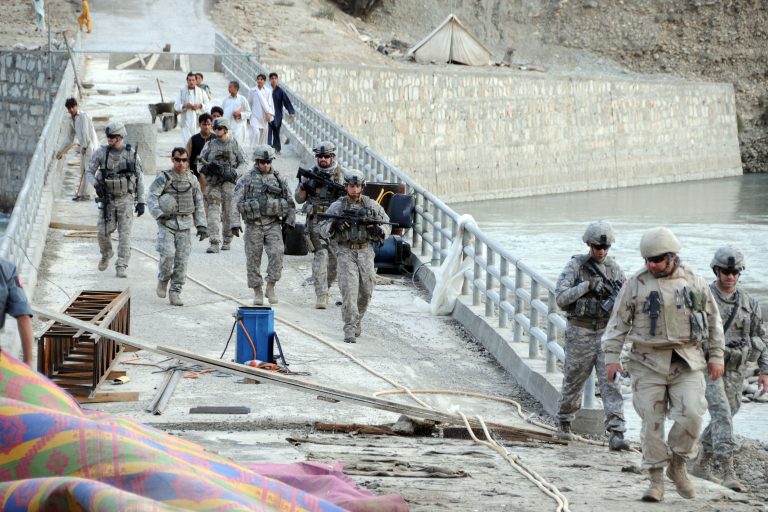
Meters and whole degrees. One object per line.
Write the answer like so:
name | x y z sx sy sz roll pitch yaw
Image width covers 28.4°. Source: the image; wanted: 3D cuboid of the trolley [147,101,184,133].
trolley | -6.587 -4.253 45.504 0.864 0.767 1.617 -1 -2 -6

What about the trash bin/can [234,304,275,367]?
trash bin/can | -2.548 1.598 30.096 0.684 1.151 0.669 2 -1 -5

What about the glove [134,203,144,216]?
glove | -5.262 -0.997 32.818 0.189 0.272 0.093 -3 -22 0

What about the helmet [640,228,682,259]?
helmet | 4.968 -0.265 27.012 0.586 0.482 0.579 13 -16 -35

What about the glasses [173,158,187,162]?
glasses | -4.312 -2.063 32.252 0.319 0.085 0.200 0 5 -21

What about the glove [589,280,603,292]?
glove | 4.002 0.562 28.309 0.182 0.198 0.192 3 7 -13

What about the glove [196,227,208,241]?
glove | -3.909 -0.499 32.775 0.207 0.293 0.097 -2 17 6

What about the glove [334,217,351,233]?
glove | -0.848 -0.630 31.244 0.348 0.305 0.091 4 5 18

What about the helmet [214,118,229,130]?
helmet | -3.659 -2.993 34.141 0.267 0.215 0.213 -6 9 -34

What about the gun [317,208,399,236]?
gun | -0.597 -0.714 31.501 1.753 0.597 0.265 9 -13 4

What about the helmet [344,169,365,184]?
helmet | -0.596 -1.640 31.489 0.395 0.279 0.426 2 5 -5

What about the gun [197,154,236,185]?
gun | -3.753 -2.001 34.368 1.147 0.428 0.236 25 13 -6

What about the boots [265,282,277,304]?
boots | -2.433 0.794 33.111 0.270 0.481 0.553 2 5 -5

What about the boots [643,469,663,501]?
boots | 4.794 4.046 26.757 0.371 0.564 0.386 3 5 14

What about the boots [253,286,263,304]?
boots | -2.681 0.833 32.582 0.195 0.400 0.338 2 5 -5

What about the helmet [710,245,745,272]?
helmet | 6.506 0.048 28.507 0.453 0.374 0.522 4 3 4

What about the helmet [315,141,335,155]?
helmet | -1.255 -2.315 32.716 0.327 0.268 0.270 -8 2 27

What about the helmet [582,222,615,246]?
helmet | 4.069 -0.402 28.334 0.445 0.449 0.485 3 0 -6

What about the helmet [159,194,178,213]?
helmet | -4.526 -1.086 32.223 0.289 0.400 0.391 0 -19 6

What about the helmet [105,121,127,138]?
helmet | -5.832 -2.761 33.017 0.382 0.320 0.297 -24 34 -26

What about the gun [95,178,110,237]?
gun | -6.200 -1.110 33.250 0.168 0.095 0.489 -19 -37 -2

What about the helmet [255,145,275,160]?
helmet | -2.539 -2.188 32.253 0.415 0.315 0.370 2 5 0

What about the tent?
tent | 3.336 -10.349 72.606 3.950 2.305 1.374 1 5 -18

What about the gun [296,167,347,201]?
gun | -1.327 -1.576 32.667 1.026 0.580 0.371 2 5 -4
